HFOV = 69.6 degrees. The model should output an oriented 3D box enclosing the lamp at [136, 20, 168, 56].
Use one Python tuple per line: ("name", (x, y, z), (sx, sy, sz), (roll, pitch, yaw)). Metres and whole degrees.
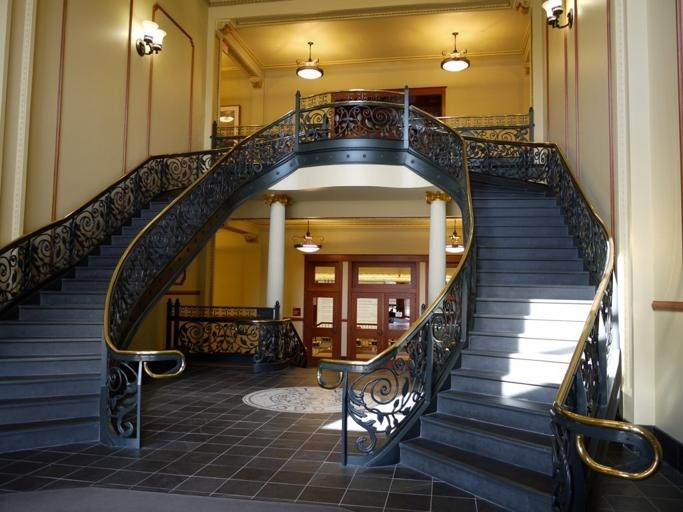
("lamp", (-3.817, -4.213, 9.676), (0.514, 0.608, 0.624), (-1, 3, -35))
